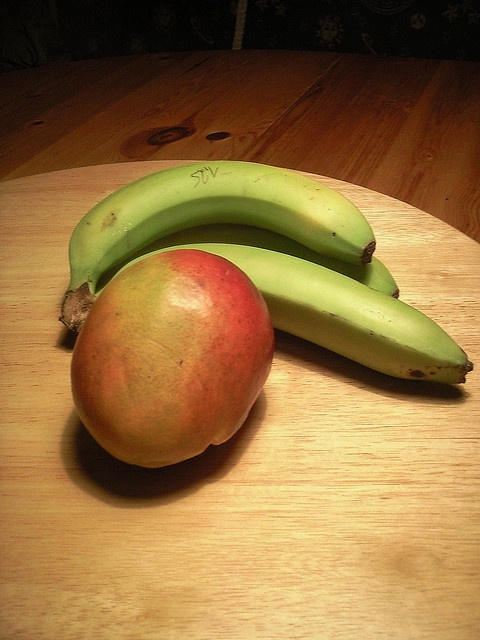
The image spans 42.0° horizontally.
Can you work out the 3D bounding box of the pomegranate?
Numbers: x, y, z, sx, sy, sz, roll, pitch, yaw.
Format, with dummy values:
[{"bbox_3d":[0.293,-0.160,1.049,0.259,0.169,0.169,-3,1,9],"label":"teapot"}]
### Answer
[{"bbox_3d":[-0.060,0.031,0.582,0.170,0.143,0.193,10,43,7],"label":"pomegranate"}]
